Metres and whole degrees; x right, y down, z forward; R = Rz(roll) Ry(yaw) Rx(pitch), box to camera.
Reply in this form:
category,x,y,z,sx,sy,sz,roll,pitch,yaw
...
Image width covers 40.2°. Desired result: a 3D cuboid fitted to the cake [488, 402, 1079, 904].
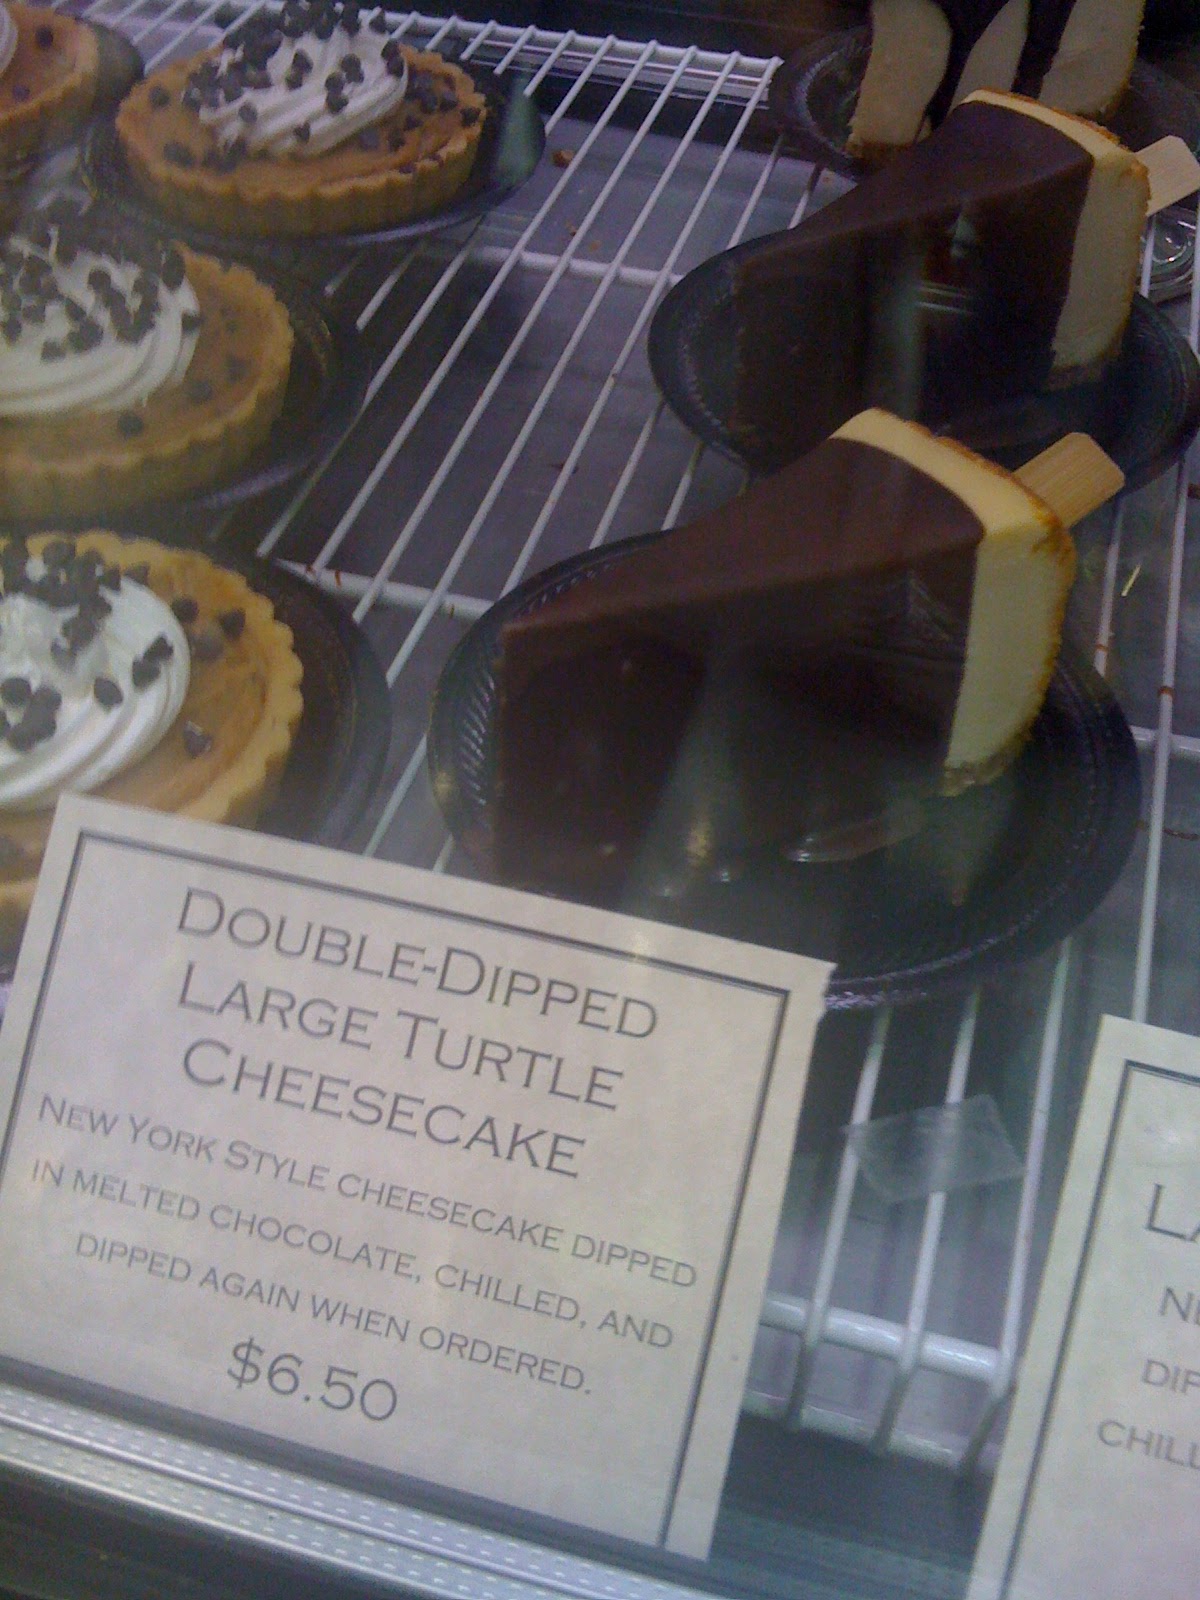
category,x,y,z,sx,sy,sz,roll,pitch,yaw
cake,0.106,-0.071,0.864,0.339,0.169,0.145,-33,49,-18

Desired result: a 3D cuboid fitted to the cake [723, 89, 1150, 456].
category,x,y,z,sx,sy,sz,roll,pitch,yaw
cake,0.200,-0.317,0.982,0.234,0.143,0.161,-19,44,-29
